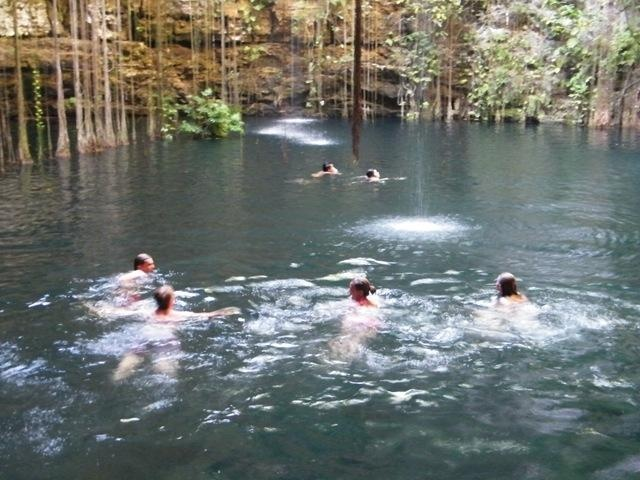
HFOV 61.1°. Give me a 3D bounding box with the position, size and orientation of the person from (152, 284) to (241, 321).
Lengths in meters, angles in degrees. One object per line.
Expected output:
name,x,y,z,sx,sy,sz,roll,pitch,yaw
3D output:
person,-1.980,1.035,8.139,1.038,0.239,0.728,5,6,29

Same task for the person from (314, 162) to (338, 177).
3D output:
person,0.168,-2.522,19.873,0.973,0.301,0.802,-6,9,-17
